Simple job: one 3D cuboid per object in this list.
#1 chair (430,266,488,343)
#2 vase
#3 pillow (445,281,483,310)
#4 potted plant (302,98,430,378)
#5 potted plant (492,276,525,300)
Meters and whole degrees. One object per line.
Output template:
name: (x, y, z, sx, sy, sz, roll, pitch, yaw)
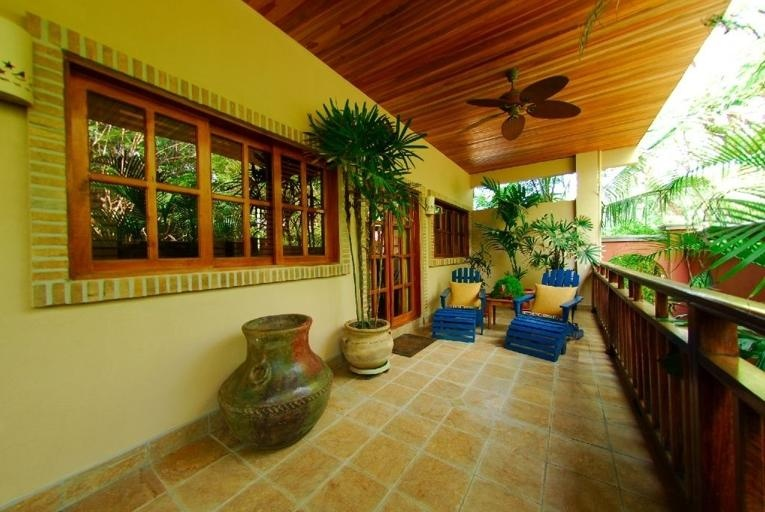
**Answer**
chair: (1.147, 0.688, 6.626, 0.690, 0.863, 1.168, 0, 4, 16)
vase: (-1.050, 1.267, 4.457, 1.162, 1.268, 1.141, 1, 10, -11)
pillow: (1.258, 0.586, 6.774, 0.394, 0.340, 0.146, 0, -18, 16)
potted plant: (-0.120, -0.191, 5.340, 1.773, 3.205, 1.306, 3, -10, -28)
potted plant: (1.958, 0.485, 6.950, 0.389, 0.356, 0.405, 1, -3, 1)
